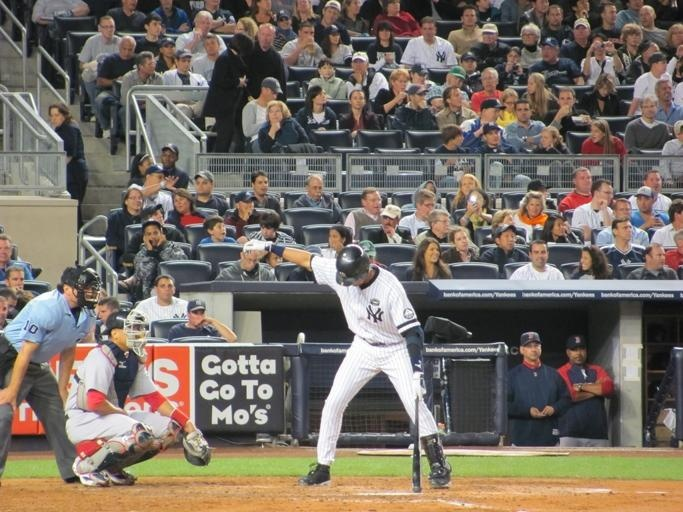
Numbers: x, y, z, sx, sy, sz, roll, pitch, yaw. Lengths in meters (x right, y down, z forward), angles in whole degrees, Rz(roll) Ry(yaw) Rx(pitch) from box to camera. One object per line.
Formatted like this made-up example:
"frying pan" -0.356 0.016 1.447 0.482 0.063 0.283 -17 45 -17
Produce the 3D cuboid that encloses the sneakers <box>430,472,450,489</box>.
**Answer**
"sneakers" 1.323 2.962 29.397 0.195 0.201 0.393 -4 -7 43

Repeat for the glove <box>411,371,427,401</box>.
"glove" 0.997 1.696 29.193 0.182 0.321 0.131 -1 0 12

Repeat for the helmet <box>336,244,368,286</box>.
"helmet" 0.136 0.137 29.268 0.356 0.532 0.394 20 -5 28

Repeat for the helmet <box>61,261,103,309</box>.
"helmet" -3.408 0.426 29.407 0.516 0.560 0.451 -3 5 2

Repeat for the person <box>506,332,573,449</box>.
"person" 2.879 1.989 33.032 0.909 1.661 0.397 0 -5 -1

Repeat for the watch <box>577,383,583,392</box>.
"watch" 3.552 1.948 33.167 0.090 0.111 0.086 -3 -5 30

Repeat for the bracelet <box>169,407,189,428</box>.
"bracelet" -2.157 2.160 29.793 0.169 0.264 0.121 -46 -10 24

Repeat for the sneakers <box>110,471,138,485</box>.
"sneakers" -2.896 2.946 29.612 0.331 0.155 0.157 2 25 -23
